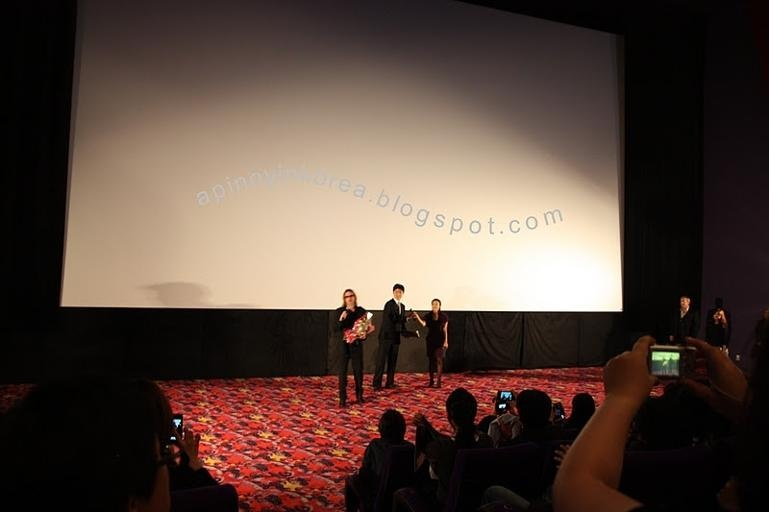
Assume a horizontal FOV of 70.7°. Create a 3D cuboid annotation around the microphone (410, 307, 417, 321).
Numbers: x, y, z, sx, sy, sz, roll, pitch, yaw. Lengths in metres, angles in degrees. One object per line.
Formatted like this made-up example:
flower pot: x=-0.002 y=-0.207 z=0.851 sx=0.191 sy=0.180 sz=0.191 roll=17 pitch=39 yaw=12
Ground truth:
microphone: x=0.464 y=0.980 z=8.940 sx=0.104 sy=0.186 sz=0.157 roll=-2 pitch=0 yaw=5
